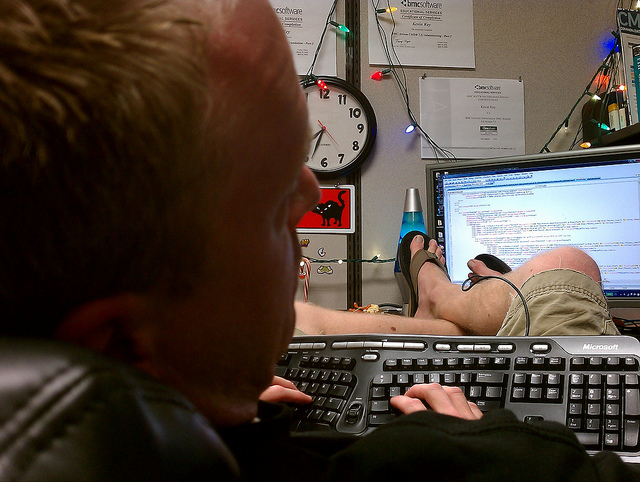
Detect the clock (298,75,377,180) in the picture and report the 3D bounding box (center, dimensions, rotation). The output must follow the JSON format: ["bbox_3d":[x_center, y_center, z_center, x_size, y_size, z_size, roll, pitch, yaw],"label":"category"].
[{"bbox_3d":[0.019,-0.310,1.500,0.262,0.285,0.038,5,3,14],"label":"clock"}]

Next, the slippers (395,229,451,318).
[{"bbox_3d":[0.242,0.068,1.356,0.080,0.232,0.059,4,7,13],"label":"slippers"}]

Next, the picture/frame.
[{"bbox_3d":[0.017,-0.061,1.125,0.129,0.106,0.018,0,2,-2],"label":"picture/frame"}]
